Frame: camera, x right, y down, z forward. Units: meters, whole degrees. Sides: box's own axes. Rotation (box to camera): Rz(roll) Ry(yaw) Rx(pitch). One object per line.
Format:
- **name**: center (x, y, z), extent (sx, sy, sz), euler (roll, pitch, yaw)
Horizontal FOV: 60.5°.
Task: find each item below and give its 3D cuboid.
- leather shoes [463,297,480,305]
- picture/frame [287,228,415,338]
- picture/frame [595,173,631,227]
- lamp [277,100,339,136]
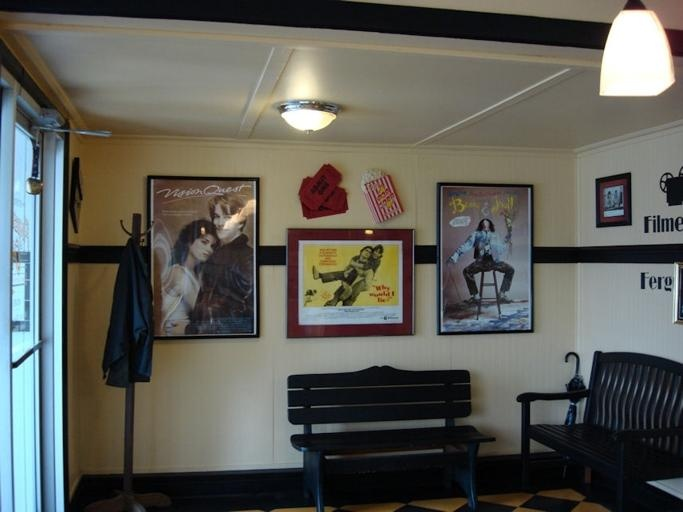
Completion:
- **leather shoes**: center (1.119, 0.383, 5.027), extent (0.143, 0.064, 0.050), euler (4, -3, -4)
- **picture/frame**: center (0.028, 0.233, 4.857), extent (0.864, 0.771, 0.068), euler (0, -3, -7)
- **picture/frame**: center (2.227, -0.457, 4.782), extent (0.037, 0.522, 0.438), euler (0, 0, -22)
- **lamp**: center (-0.210, -0.916, 3.856), extent (0.425, 0.135, 0.283), euler (0, -1, -5)
